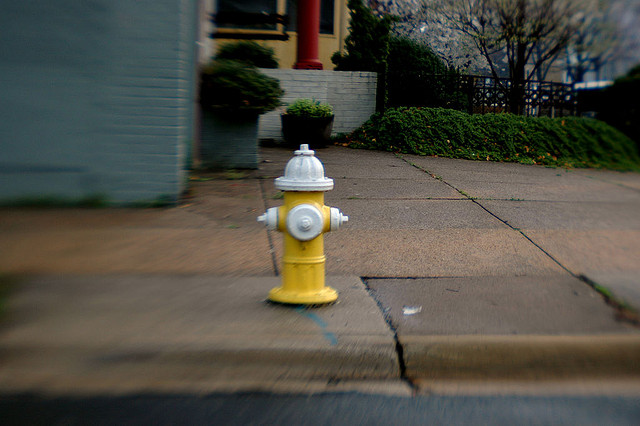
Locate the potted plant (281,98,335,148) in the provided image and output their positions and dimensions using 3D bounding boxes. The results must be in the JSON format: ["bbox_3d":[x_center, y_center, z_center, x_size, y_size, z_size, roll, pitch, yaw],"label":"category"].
[{"bbox_3d":[-0.280,-2.298,12.673,1.328,1.067,1.219,6,11,-9],"label":"potted plant"}]

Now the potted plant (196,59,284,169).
[{"bbox_3d":[-1.760,-1.994,9.569,1.878,1.881,1.939,1,7,-28],"label":"potted plant"}]

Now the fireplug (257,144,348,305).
[{"bbox_3d":[-0.127,0.118,4.627,0.703,1.389,0.728,2,3,28],"label":"fireplug"}]
